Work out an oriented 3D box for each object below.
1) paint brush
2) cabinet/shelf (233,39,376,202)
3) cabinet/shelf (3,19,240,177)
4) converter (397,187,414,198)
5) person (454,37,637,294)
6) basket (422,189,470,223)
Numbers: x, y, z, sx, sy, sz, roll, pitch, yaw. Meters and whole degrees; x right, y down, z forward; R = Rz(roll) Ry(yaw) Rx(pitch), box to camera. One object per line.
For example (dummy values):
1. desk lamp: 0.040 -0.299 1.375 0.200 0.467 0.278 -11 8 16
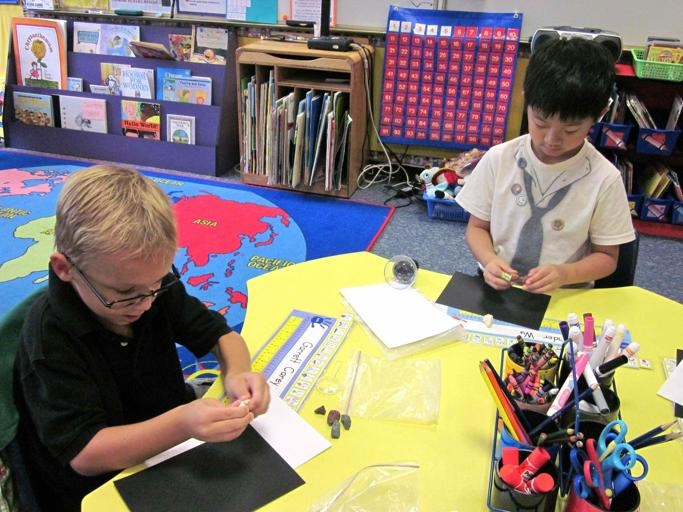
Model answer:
1. paint brush: 0.493 0.229 1.049 0.157 0.100 0.235 17 42 5
2. cabinet/shelf: -0.238 -0.855 3.225 0.861 1.005 0.516 7 23 14
3. cabinet/shelf: -1.445 -1.105 3.564 1.443 0.862 0.464 8 30 6
4. converter: 0.426 -0.422 3.418 0.097 0.046 0.070 11 25 43
5. person: 0.694 -0.225 1.685 0.447 0.840 0.454 19 28 20
6. basket: 0.626 -0.304 3.104 0.227 0.083 0.167 3 31 3
